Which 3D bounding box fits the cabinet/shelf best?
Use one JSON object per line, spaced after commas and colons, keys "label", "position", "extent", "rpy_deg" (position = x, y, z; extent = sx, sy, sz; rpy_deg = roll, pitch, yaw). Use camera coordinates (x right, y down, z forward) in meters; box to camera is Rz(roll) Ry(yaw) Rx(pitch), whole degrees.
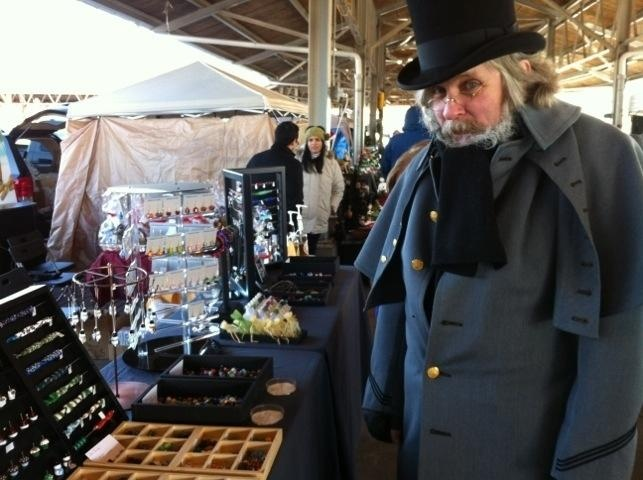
{"label": "cabinet/shelf", "position": [-0.355, -0.042, 2.681], "extent": [0.217, 0.613, 0.630], "rpy_deg": [0, 9, 12]}

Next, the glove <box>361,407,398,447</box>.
{"label": "glove", "position": [0.201, 0.635, 1.772], "extent": [0.135, 0.128, 0.106], "rpy_deg": [-1, 3, -3]}

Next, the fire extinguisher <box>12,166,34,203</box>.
{"label": "fire extinguisher", "position": [-3.307, -0.602, 5.607], "extent": [0.123, 0.382, 0.443], "rpy_deg": [-4, 11, -6]}
